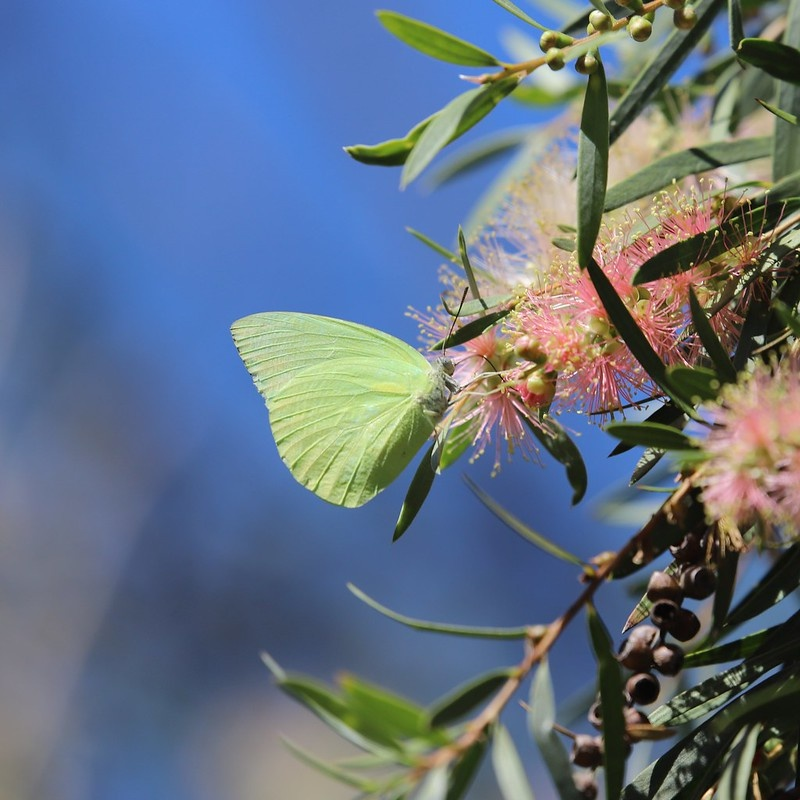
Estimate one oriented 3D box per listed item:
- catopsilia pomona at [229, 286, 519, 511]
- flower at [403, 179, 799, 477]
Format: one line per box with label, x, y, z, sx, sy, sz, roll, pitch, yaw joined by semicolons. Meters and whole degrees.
catopsilia pomona;-0.024;0.028;1.536;0.269;0.228;0.358;-28;-6;-4
flower;0.213;-0.084;1.313;0.284;0.316;0.201;-38;-74;-3
